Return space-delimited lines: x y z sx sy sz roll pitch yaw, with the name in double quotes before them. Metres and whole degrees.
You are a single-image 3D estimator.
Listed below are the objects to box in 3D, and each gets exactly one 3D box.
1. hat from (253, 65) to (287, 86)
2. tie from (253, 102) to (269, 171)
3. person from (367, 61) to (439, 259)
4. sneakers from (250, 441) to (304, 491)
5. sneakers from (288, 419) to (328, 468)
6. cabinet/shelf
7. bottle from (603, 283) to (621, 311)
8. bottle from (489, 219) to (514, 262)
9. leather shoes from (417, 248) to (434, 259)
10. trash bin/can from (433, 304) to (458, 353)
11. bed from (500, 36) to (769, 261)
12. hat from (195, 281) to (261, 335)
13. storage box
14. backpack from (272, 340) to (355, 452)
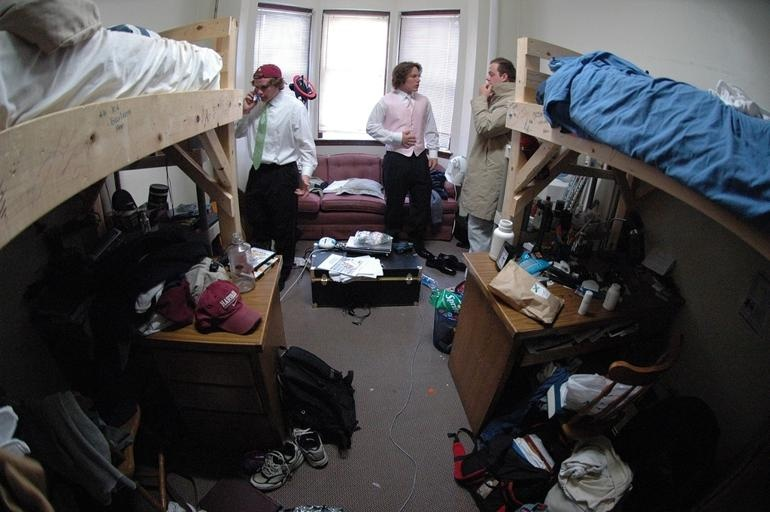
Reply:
"hat" -0.793 -1.249 3.569 0.121 0.093 0.177 10 28 9
"tie" -0.887 -0.827 3.630 0.027 0.477 0.095 10 3 35
"person" 0.139 -0.833 4.399 0.591 1.530 0.519 4 24 5
"sneakers" -0.559 1.079 2.645 0.156 0.117 0.262 37 52 14
"sneakers" -0.411 1.006 2.786 0.134 0.138 0.334 -23 24 -21
"cabinet/shelf" -0.831 0.557 2.823 0.626 0.937 0.691 12 41 13
"bottle" 1.142 0.201 2.591 0.071 0.129 0.091 13 27 24
"bottle" 0.683 -0.089 2.982 0.126 0.225 0.125 6 22 -2
"leather shoes" 0.353 -0.024 4.464 0.087 0.041 0.129 36 6 0
"trash bin/can" 0.446 0.477 3.477 0.199 0.291 0.291 -9 -12 18
"bed" 1.203 -0.493 2.462 0.613 0.679 1.161 -2 45 -29
"hat" -0.771 0.229 2.470 0.330 0.184 0.233 7 29 21
"storage box" -0.133 0.188 3.760 0.806 0.350 0.340 0 25 -5
"backpack" -0.376 0.792 2.962 0.375 0.550 0.485 -14 2 19
